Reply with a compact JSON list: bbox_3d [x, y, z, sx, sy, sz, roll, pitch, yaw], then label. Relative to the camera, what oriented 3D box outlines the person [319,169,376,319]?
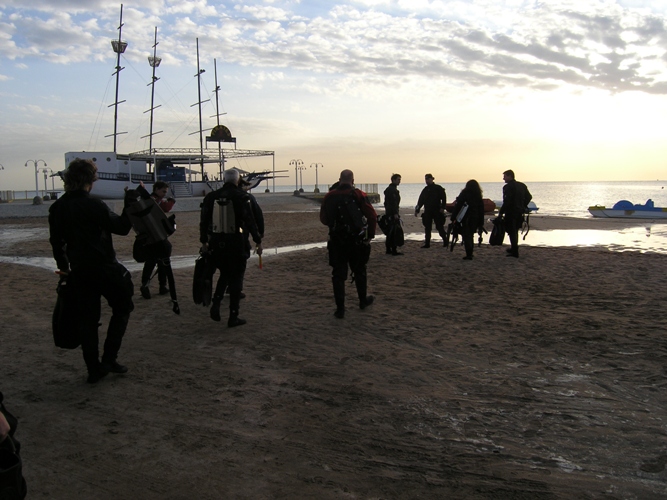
[{"bbox_3d":[0.228,-0.085,8.292,0.832,2.261,0.981,-1,16,-1],"label":"person"}]

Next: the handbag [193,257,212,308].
[{"bbox_3d":[-1.857,0.425,7.695,0.231,0.634,0.367,8,6,34],"label":"handbag"}]

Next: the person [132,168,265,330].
[{"bbox_3d":[-1.440,0.022,7.468,0.757,2.219,0.523,13,22,39],"label":"person"}]

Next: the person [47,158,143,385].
[{"bbox_3d":[-2.474,0.245,5.747,0.764,2.367,0.507,-8,18,-23],"label":"person"}]

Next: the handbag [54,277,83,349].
[{"bbox_3d":[-2.753,0.670,5.603,0.250,0.773,0.305,-16,22,-42],"label":"handbag"}]
